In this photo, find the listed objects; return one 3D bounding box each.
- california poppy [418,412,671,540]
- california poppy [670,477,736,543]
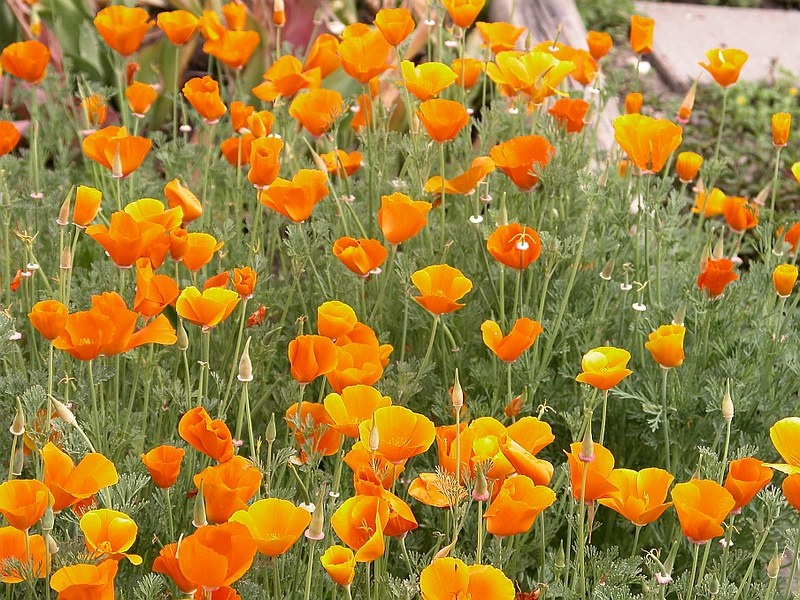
[{"bbox_3d":[0.216,0.267,1.324,0.207,0.116,0.290,13,-16,3],"label":"california poppy"},{"bbox_3d":[0.453,0.327,1.262,0.089,0.105,0.077,6,0,-10],"label":"california poppy"}]
